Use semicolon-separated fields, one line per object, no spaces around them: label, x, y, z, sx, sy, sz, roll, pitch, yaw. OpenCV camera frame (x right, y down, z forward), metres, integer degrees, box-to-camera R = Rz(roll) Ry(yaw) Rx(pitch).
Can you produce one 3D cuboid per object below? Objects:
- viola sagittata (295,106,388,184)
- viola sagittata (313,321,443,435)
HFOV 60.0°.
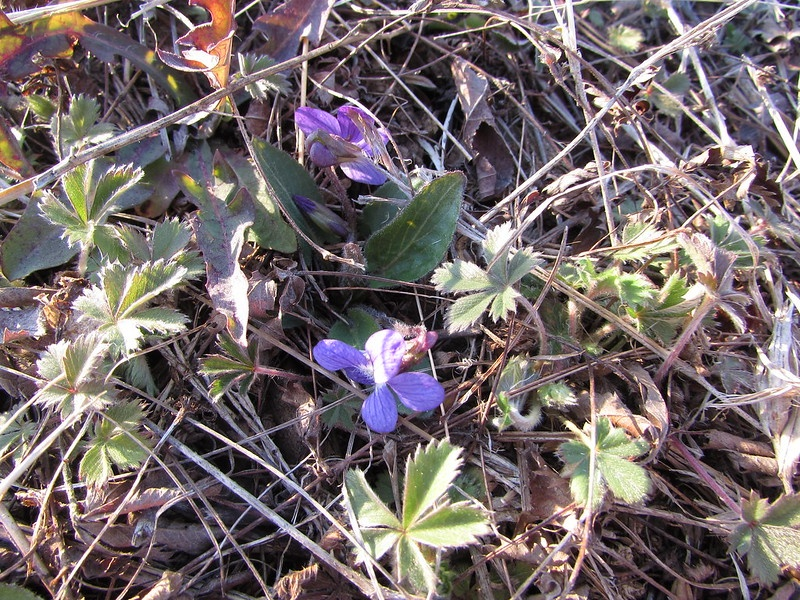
viola sagittata;-0.220;-0.587;2.634;0.322;0.135;0.317;51;38;5
viola sagittata;-0.069;0.258;2.380;0.422;0.214;0.495;-3;44;-31
